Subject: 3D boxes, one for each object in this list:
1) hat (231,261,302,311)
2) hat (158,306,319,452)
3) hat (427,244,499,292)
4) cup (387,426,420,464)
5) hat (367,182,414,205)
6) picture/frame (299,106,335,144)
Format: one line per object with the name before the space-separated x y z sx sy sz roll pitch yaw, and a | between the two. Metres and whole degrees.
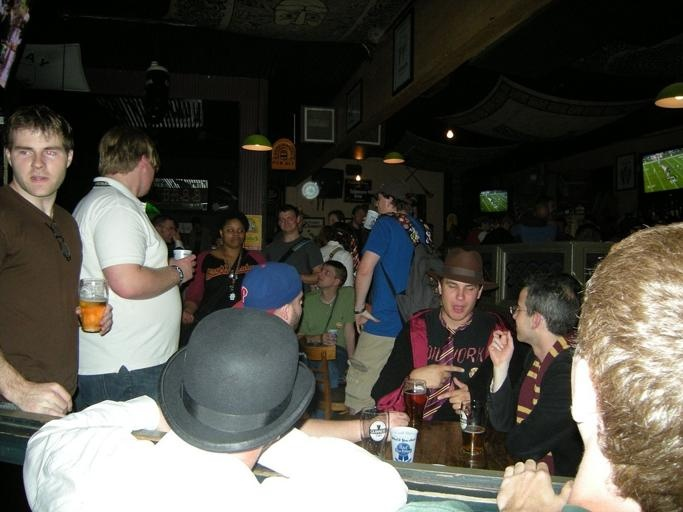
hat | -0.331 0.127 2.555 0.279 0.136 0.175 -11 33 -25
hat | -0.284 0.355 1.707 0.410 0.221 0.447 25 41 16
hat | 0.769 0.087 3.577 0.322 0.131 0.332 17 -10 11
cup | 0.257 0.769 2.332 0.164 0.157 0.159 1 -14 0
hat | 0.389 -0.488 4.345 0.233 0.111 0.161 18 16 10
picture/frame | -0.347 -1.809 8.041 0.514 0.469 0.472 2 3 -5
